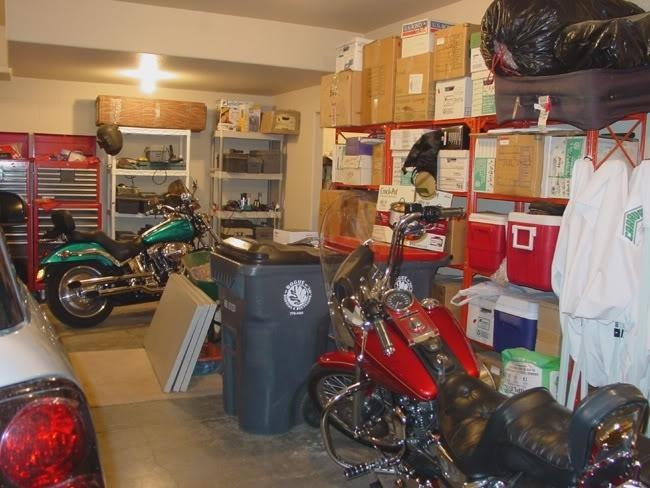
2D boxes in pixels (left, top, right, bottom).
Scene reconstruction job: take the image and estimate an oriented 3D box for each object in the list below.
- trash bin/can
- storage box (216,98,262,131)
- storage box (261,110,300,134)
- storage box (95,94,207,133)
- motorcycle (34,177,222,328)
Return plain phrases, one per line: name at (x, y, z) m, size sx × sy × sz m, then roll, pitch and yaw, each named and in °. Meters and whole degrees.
trash bin/can at (-0.098, 0.431, 3.456) m, size 1.409 × 1.216 × 0.908 m, roll -4°, pitch 9°, yaw -31°
storage box at (-1.223, -1.973, 7.808) m, size 0.704 × 0.461 × 0.367 m, roll 6°, pitch 15°, yaw 14°
storage box at (-0.663, -1.816, 7.598) m, size 0.595 × 0.363 × 0.442 m, roll -1°, pitch 9°, yaw -7°
storage box at (-2.473, -1.908, 7.535) m, size 1.478 × 0.426 × 1.071 m, roll 1°, pitch 10°, yaw -8°
motorcycle at (-1.802, 0.064, 5.182) m, size 1.062 × 1.305 × 2.142 m, roll 1°, pitch 6°, yaw 42°
